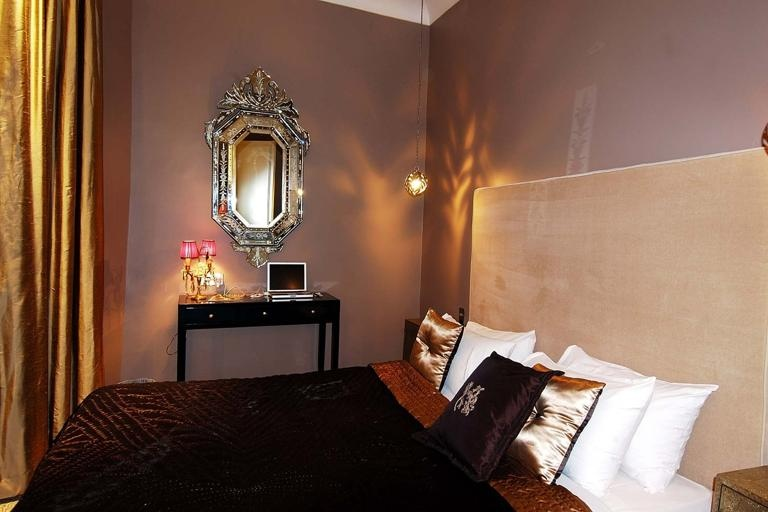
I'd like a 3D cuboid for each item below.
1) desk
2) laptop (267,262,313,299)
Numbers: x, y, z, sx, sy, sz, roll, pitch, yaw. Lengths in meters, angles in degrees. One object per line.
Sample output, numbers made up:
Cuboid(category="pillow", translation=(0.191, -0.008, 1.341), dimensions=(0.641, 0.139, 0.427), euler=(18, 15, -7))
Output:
Cuboid(category="desk", translation=(-1.185, 0.828, 4.810), dimensions=(1.375, 1.029, 0.462), euler=(0, 13, -31))
Cuboid(category="laptop", translation=(-0.856, 0.222, 4.768), dimensions=(0.387, 0.312, 0.310), euler=(0, 2, -19))
